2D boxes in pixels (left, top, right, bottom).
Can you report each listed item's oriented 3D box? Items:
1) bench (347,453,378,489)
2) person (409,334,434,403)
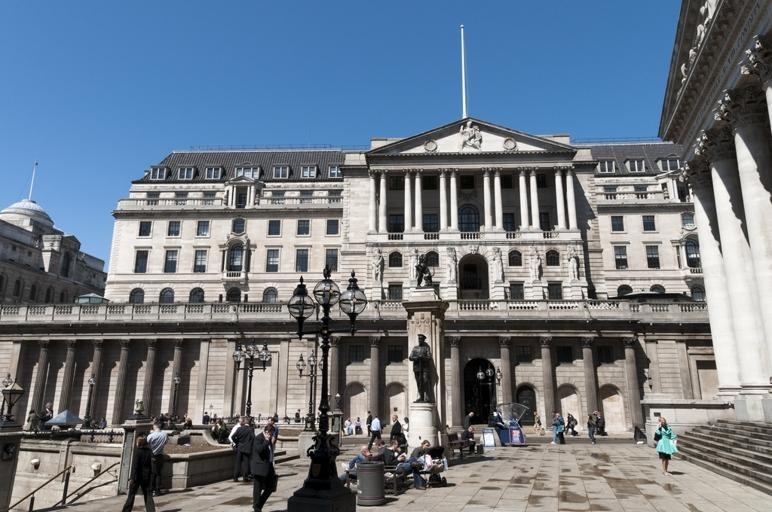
[{"bbox_3d":[-1.315,9.646,27.158,0.728,1.910,1.106,30,-16,-22],"label":"bench"},{"bbox_3d":[2.030,6.204,32.691,1.076,3.654,1.480,-9,-17,22],"label":"person"}]
